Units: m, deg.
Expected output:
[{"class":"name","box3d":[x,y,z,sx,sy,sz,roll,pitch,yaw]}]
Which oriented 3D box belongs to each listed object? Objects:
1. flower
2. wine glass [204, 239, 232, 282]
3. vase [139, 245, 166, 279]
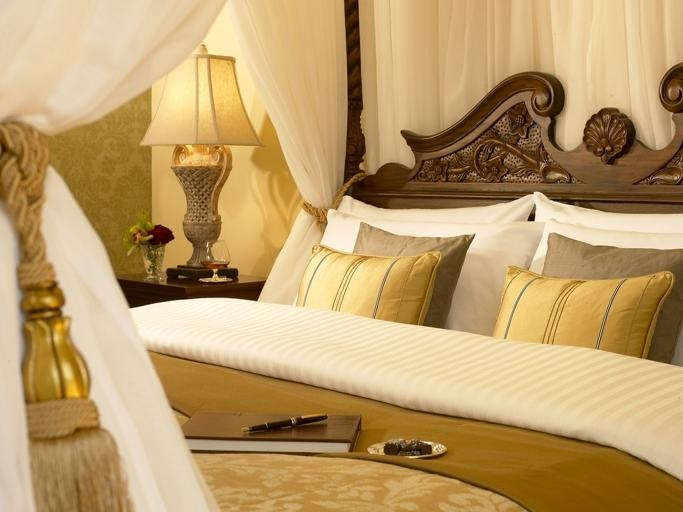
[{"class":"flower","box3d":[-1.146,-0.047,3.450,0.264,0.306,0.291,-2,9,32]},{"class":"wine glass","box3d":[-0.682,0.030,3.179,0.149,0.225,0.153,13,12,34]},{"class":"vase","box3d":[-1.125,0.028,3.462,0.159,0.226,0.171,-3,5,2]}]
